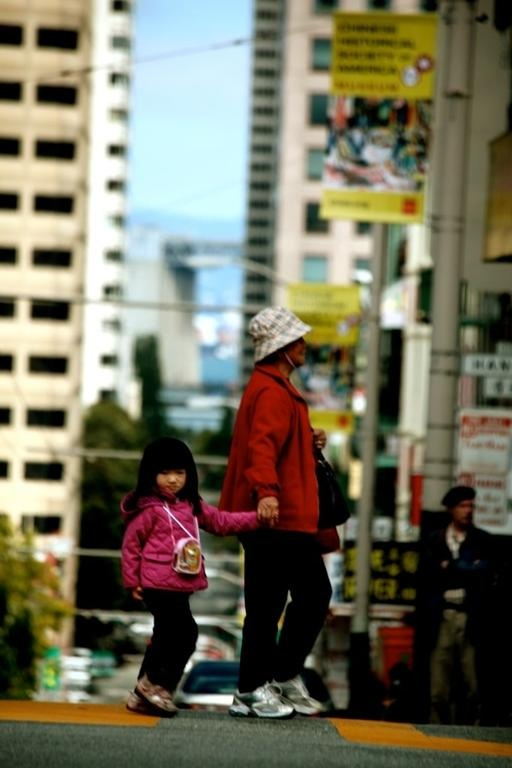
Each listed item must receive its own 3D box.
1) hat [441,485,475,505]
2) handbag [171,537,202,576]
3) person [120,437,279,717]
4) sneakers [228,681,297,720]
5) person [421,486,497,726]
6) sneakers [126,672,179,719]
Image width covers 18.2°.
[{"bbox_3d":[1.225,0.697,9.828,0.222,0.118,0.166,2,-1,23],"label":"hat"},{"bbox_3d":[-0.355,0.852,7.967,0.174,0.237,0.091,3,-8,-32],"label":"handbag"},{"bbox_3d":[-0.390,0.962,8.037,0.589,1.183,0.231,2,-1,-6],"label":"person"},{"bbox_3d":[0.034,1.596,8.042,0.341,0.168,0.147,-1,-3,5],"label":"sneakers"},{"bbox_3d":[1.231,1.376,9.922,0.460,1.131,0.437,2,-1,6],"label":"person"},{"bbox_3d":[-0.507,1.573,8.027,0.258,0.184,0.141,1,0,8],"label":"sneakers"}]
